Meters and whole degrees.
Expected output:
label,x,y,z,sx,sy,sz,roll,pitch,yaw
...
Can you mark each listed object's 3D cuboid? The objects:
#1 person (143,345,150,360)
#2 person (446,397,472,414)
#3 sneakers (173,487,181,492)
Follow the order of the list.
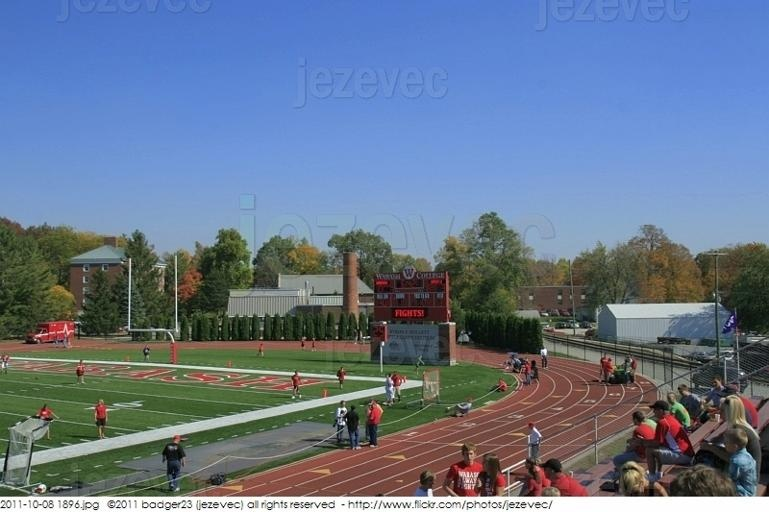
label,x,y,z,sx,sy,sz,roll,pitch,yaw
person,-22.054,9.070,79.817,0.391,1.241,1.347,1,2,-22
person,5.032,10.069,57.569,1.126,1.206,1.941,0,2,-33
sneakers,-10.747,12.212,44.660,0.134,0.197,0.284,5,9,19
